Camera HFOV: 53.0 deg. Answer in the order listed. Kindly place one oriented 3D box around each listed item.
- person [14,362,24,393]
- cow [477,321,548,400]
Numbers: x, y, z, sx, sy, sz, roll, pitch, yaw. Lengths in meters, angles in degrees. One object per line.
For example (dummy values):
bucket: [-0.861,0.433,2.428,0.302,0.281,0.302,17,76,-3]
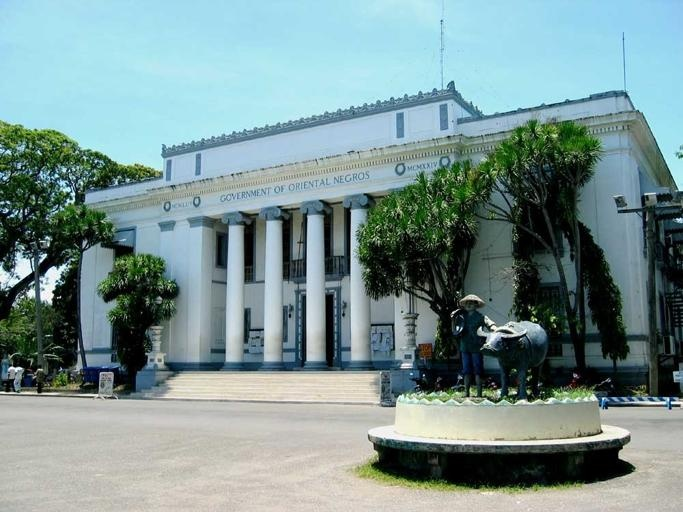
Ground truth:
person: [-16.776,6.423,35.472,0.375,1.272,1.212,3,-12,-26]
cow: [3.031,1.816,12.044,1.436,1.373,0.699,6,-12,-34]
